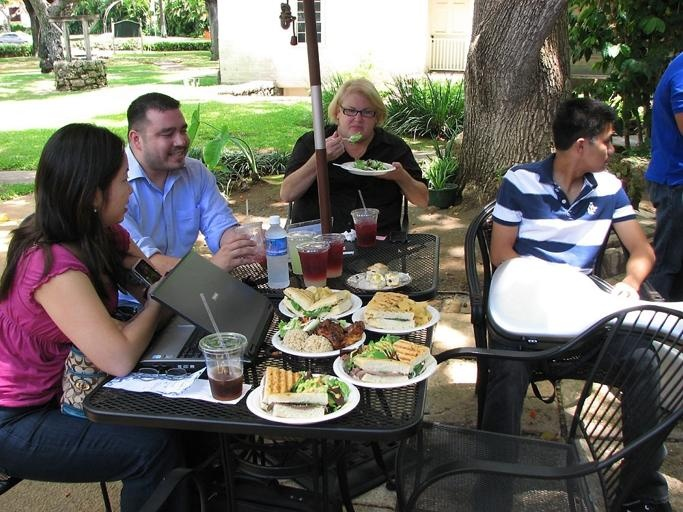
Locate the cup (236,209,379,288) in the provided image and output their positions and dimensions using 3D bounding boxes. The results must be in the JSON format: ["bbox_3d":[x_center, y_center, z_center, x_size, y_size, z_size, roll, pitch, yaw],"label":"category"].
[{"bbox_3d":[-0.198,-0.023,2.549,0.477,0.275,0.444,-13,15,4],"label":"cup"}]

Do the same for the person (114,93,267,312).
[{"bbox_3d":[-0.779,-0.301,2.884,0.735,1.349,0.742,-14,29,-40],"label":"person"}]

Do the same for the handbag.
[{"bbox_3d":[-0.882,0.440,2.017,0.367,0.406,0.298,-1,19,-11],"label":"handbag"}]

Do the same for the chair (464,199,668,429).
[{"bbox_3d":[1.270,0.217,2.856,1.063,1.429,1.091,2,17,8],"label":"chair"}]

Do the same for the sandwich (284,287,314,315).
[{"bbox_3d":[-0.166,0.174,2.083,0.097,0.031,0.096,34,10,-1],"label":"sandwich"}]

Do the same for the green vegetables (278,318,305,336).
[{"bbox_3d":[-0.189,0.260,1.933,0.073,0.032,0.072,-12,6,-41],"label":"green vegetables"}]

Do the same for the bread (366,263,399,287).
[{"bbox_3d":[0.187,0.098,2.325,0.115,0.043,0.111,1,22,2],"label":"bread"}]

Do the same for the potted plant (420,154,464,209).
[{"bbox_3d":[1.296,-0.953,6.776,0.556,0.635,0.652,-2,9,-1],"label":"potted plant"}]

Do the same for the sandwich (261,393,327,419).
[{"bbox_3d":[-0.148,0.418,1.602,0.200,0.064,0.187,-5,11,-7],"label":"sandwich"}]

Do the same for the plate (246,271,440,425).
[{"bbox_3d":[0.010,0.300,1.646,0.421,0.274,0.508,5,15,20],"label":"plate"}]

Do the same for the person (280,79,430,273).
[{"bbox_3d":[0.083,-0.610,3.608,0.718,1.478,0.613,1,10,5],"label":"person"}]

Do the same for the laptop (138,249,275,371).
[{"bbox_3d":[-0.408,0.165,2.130,0.715,0.333,0.564,5,15,1],"label":"laptop"}]

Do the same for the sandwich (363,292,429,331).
[{"bbox_3d":[0.209,0.222,1.990,0.207,0.127,0.292,-5,15,-19],"label":"sandwich"}]

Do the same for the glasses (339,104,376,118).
[{"bbox_3d":[0.108,-0.947,3.441,0.214,0.076,0.058,0,22,3],"label":"glasses"}]

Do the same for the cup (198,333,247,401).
[{"bbox_3d":[-0.348,0.336,1.668,0.133,0.213,0.162,8,19,20],"label":"cup"}]

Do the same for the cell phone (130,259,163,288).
[{"bbox_3d":[-0.777,0.077,2.050,0.013,0.125,0.089,-39,9,32],"label":"cell phone"}]
